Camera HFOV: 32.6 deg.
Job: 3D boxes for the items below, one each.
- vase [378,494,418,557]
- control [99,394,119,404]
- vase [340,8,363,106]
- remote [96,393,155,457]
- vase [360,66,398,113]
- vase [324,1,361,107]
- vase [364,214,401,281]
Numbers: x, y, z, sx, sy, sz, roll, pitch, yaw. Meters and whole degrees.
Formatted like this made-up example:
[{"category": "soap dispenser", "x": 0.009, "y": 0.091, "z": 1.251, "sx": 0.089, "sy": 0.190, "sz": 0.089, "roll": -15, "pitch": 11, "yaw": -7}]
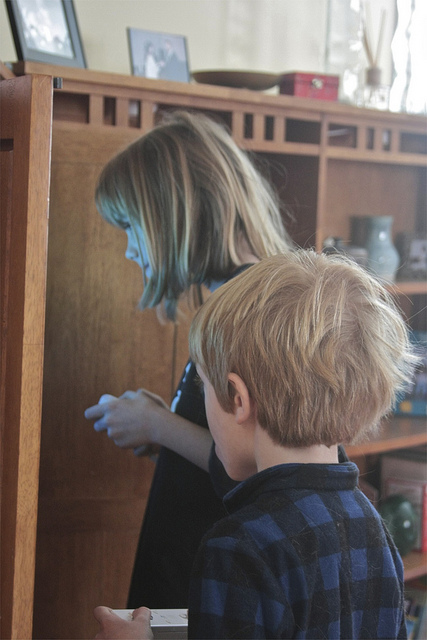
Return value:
[{"category": "vase", "x": 0.499, "y": 0.561, "z": 1.976, "sx": 0.071, "sy": 0.165, "sz": 0.133, "roll": 5, "pitch": 18, "yaw": 33}, {"category": "control", "x": -0.208, "y": 0.154, "z": 1.424, "sx": 0.024, "sy": 0.016, "sz": 0.008, "roll": 11, "pitch": 10, "yaw": 6}, {"category": "vase", "x": 0.320, "y": -0.612, "z": 1.698, "sx": 0.054, "sy": 0.219, "sz": 0.144, "roll": -2, "pitch": 15, "yaw": 12}, {"category": "remote", "x": -0.163, "y": 0.223, "z": 1.434, "sx": 0.046, "sy": 0.117, "sz": 0.125, "roll": -32, "pitch": -21, "yaw": 25}, {"category": "vase", "x": 0.406, "y": -0.534, "z": 1.713, "sx": 0.099, "sy": 0.087, "sz": 0.059, "roll": -10, "pitch": 23, "yaw": -31}, {"category": "vase", "x": 0.301, "y": -0.623, "z": 1.700, "sx": 0.089, "sy": 0.246, "sz": 0.158, "roll": -2, "pitch": 15, "yaw": 12}, {"category": "vase", "x": 0.382, "y": -0.164, "z": 1.670, "sx": 0.097, "sy": 0.155, "sz": 0.033, "roll": -11, "pitch": 16, "yaw": -22}]
